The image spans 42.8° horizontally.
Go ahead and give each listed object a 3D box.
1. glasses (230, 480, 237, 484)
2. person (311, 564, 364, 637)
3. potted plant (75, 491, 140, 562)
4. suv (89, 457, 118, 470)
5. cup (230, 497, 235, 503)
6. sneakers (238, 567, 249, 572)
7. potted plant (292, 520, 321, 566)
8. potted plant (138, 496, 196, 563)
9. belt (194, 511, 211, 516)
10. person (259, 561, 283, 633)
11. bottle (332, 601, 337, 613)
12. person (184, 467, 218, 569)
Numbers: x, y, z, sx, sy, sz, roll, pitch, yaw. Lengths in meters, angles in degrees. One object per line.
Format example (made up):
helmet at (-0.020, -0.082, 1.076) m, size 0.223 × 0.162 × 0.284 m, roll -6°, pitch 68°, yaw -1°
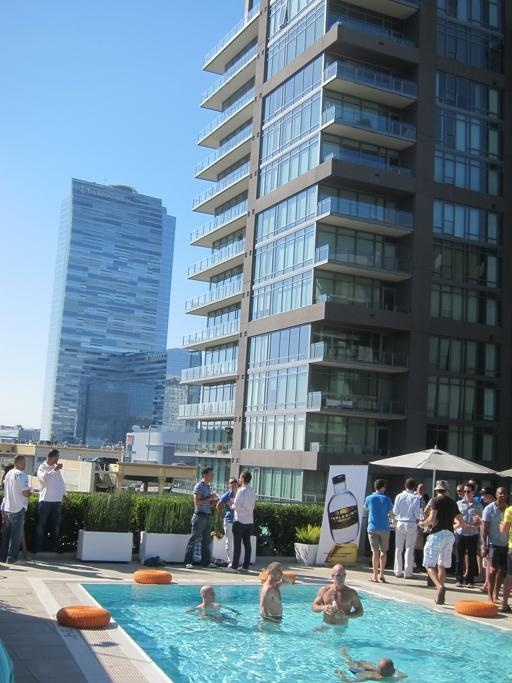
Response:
glasses at (-0.508, 3.032, 14.038) m, size 0.123 × 0.104 × 0.149 m, roll -2°, pitch -9°, yaw -5°
person at (1.077, 3.578, 9.341) m, size 0.677 × 0.848 × 0.757 m, roll -7°, pitch -15°, yaw 43°
potted plant at (-3.104, 3.860, 13.502) m, size 1.070 × 1.370 × 0.658 m, roll 6°, pitch -11°, yaw -14°
suv at (-15.653, 12.687, 67.482) m, size 2.025 × 1.073 × 8.981 m, roll 5°, pitch -10°, yaw -11°
cup at (-0.525, 3.429, 14.082) m, size 0.053 × 0.090 × 0.212 m, roll 3°, pitch -49°, yaw -6°
sneakers at (-0.292, 4.803, 13.737) m, size 0.086 × 0.090 × 0.234 m, roll 3°, pitch -1°, yaw -38°
potted plant at (1.140, 5.079, 16.550) m, size 0.822 × 1.060 × 0.883 m, roll 2°, pitch -3°, yaw -23°
potted plant at (-1.902, 4.088, 14.034) m, size 1.538 × 1.582 × 0.673 m, roll 5°, pitch -18°, yaw -17°
belt at (-1.133, 3.570, 13.569) m, size 0.185 × 0.061 × 0.136 m, roll -7°, pitch -9°, yaw 41°
person at (0.208, 3.564, 9.336) m, size 0.346 × 0.827 × 0.804 m, roll 3°, pitch -11°, yaw 2°
bottle at (1.086, 3.744, 9.223) m, size 0.087 × 0.127 × 0.030 m, roll -7°, pitch -15°, yaw 43°
person at (-1.176, 3.710, 13.710) m, size 0.549 × 2.080 × 1.406 m, roll 4°, pitch -11°, yaw -3°
